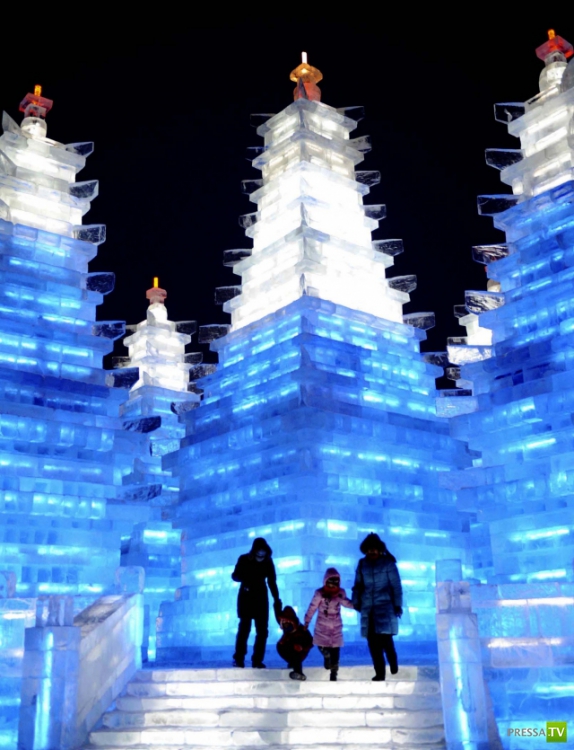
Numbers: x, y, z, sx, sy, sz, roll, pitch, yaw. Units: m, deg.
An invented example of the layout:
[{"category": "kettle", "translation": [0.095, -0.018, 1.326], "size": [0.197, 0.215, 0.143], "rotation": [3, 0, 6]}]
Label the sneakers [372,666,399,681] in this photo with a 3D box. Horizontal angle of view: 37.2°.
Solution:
[{"category": "sneakers", "translation": [1.380, 4.020, 11.547], "size": [0.436, 0.075, 0.235], "rotation": [-7, -13, -7]}]

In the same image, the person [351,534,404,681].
[{"category": "person", "translation": [1.251, 3.114, 11.597], "size": [0.671, 1.964, 0.739], "rotation": [-4, -23, 3]}]

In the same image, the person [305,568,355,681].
[{"category": "person", "translation": [0.597, 3.478, 12.003], "size": [0.677, 1.561, 0.838], "rotation": [-3, -23, 0]}]

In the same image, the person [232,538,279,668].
[{"category": "person", "translation": [-0.441, 3.371, 12.718], "size": [0.698, 1.895, 1.022], "rotation": [-1, -23, -4]}]
